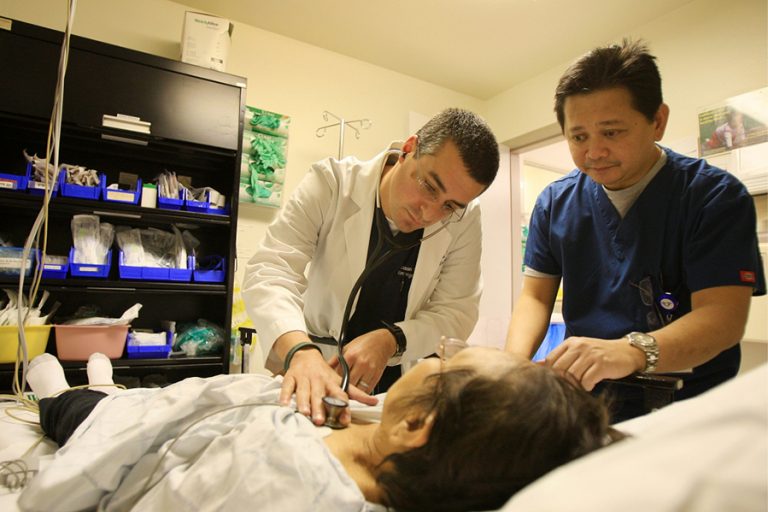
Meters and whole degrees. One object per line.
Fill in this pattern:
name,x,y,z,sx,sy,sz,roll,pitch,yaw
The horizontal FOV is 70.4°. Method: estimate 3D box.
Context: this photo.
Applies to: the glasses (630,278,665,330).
glasses,1.021,0.183,2.067,0.058,0.207,0.156,1,-3,-17
